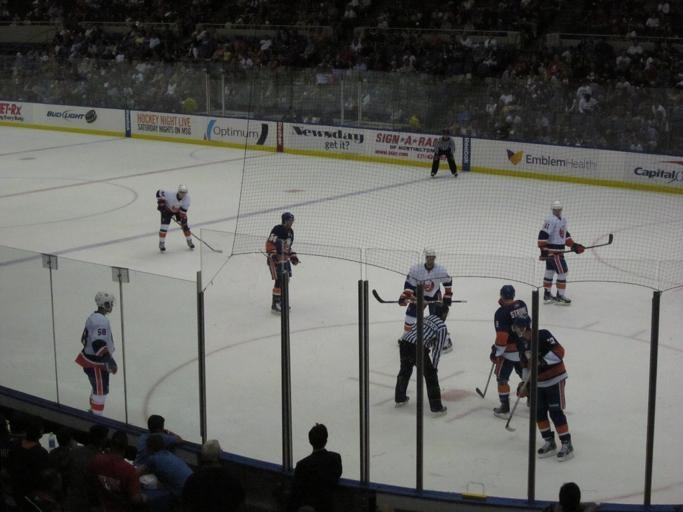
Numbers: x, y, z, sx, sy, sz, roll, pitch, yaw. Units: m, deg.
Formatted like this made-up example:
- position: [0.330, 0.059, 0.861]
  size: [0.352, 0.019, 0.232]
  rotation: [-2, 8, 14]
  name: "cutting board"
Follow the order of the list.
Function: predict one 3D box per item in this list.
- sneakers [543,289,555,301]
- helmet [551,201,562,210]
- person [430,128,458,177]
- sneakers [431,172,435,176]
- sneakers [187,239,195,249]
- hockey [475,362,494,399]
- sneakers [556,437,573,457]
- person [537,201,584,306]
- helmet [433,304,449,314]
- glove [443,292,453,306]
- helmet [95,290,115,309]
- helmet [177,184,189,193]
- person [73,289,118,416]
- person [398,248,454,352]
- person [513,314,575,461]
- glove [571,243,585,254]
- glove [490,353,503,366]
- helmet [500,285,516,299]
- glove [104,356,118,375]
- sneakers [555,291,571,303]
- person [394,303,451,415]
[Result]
- position: [3.367, 0.608, 14.917]
  size: [0.177, 0.201, 0.340]
  rotation: [4, 3, 35]
  name: "sneakers"
- position: [3.559, -0.857, 15.234]
  size: [0.155, 0.161, 0.182]
  rotation: [0, -10, 6]
  name: "helmet"
- position: [2.563, -2.580, 23.036]
  size: [0.712, 1.173, 0.636]
  rotation: [-3, 23, -6]
  name: "person"
- position: [2.302, -2.089, 23.227]
  size: [0.097, 0.120, 0.286]
  rotation: [-2, 6, 7]
  name: "sneakers"
- position: [-2.897, -0.249, 17.835]
  size: [0.081, 0.097, 0.244]
  rotation: [-6, 23, -15]
  name: "sneakers"
- position: [1.854, 1.606, 11.922]
  size: [0.125, 0.597, 0.049]
  rotation: [-11, 54, -38]
  name: "hockey"
- position: [2.582, 2.189, 10.637]
  size: [0.189, 0.217, 0.298]
  rotation: [2, 3, 15]
  name: "sneakers"
- position: [3.543, -0.090, 15.015]
  size: [0.693, 1.619, 1.195]
  rotation: [2, 3, 12]
  name: "person"
- position: [1.252, 0.651, 11.601]
  size: [0.144, 0.109, 0.141]
  rotation: [-12, -22, 7]
  name: "helmet"
- position: [1.473, 0.562, 12.471]
  size: [0.157, 0.172, 0.153]
  rotation: [0, 1, 22]
  name: "glove"
- position: [-2.750, 0.492, 10.741]
  size: [0.209, 0.162, 0.159]
  rotation: [-4, 14, -6]
  name: "helmet"
- position: [-3.023, -1.296, 17.764]
  size: [0.207, 0.251, 0.277]
  rotation: [-3, 5, -20]
  name: "helmet"
- position: [-2.884, 1.139, 10.912]
  size: [0.564, 1.487, 0.208]
  rotation: [4, 4, 40]
  name: "person"
- position: [1.140, 0.587, 12.606]
  size: [0.839, 1.376, 0.737]
  rotation: [-2, 9, -10]
  name: "person"
- position: [2.332, 1.487, 10.573]
  size: [0.713, 1.606, 1.303]
  rotation: [2, 3, 10]
  name: "person"
- position: [3.805, -0.139, 14.807]
  size: [0.171, 0.073, 0.167]
  rotation: [-4, 17, -19]
  name: "glove"
- position: [1.905, 1.244, 11.347]
  size: [0.127, 0.139, 0.154]
  rotation: [-12, 15, -28]
  name: "glove"
- position: [2.067, 0.420, 11.467]
  size: [0.145, 0.188, 0.184]
  rotation: [2, 23, 2]
  name: "helmet"
- position: [-2.708, 1.273, 10.864]
  size: [0.178, 0.202, 0.028]
  rotation: [3, 3, 26]
  name: "glove"
- position: [3.537, 0.647, 14.609]
  size: [0.209, 0.169, 0.420]
  rotation: [2, 2, 1]
  name: "sneakers"
- position: [0.992, 1.238, 11.339]
  size: [0.627, 1.323, 1.535]
  rotation: [2, 3, 4]
  name: "person"
